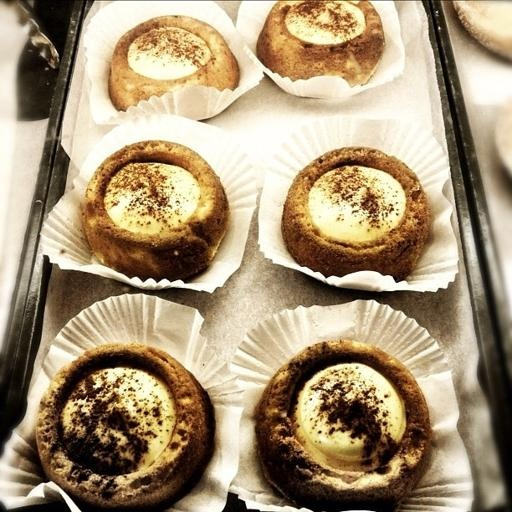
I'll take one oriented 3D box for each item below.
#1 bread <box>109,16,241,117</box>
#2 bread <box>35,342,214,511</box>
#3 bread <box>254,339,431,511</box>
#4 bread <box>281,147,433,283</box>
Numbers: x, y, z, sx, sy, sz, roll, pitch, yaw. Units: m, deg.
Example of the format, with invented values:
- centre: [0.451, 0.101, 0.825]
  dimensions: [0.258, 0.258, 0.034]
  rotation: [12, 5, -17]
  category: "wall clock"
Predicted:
- centre: [-0.416, -0.912, 2.565]
  dimensions: [0.609, 0.183, 0.491]
  rotation: [-16, 75, -2]
  category: "bread"
- centre: [-0.391, 0.506, 1.693]
  dimensions: [0.494, 0.234, 0.505]
  rotation: [-10, 75, -1]
  category: "bread"
- centre: [0.265, 0.500, 1.680]
  dimensions: [0.502, 0.170, 0.509]
  rotation: [11, 76, 5]
  category: "bread"
- centre: [0.379, -0.185, 2.092]
  dimensions: [0.503, 0.150, 0.539]
  rotation: [2, 75, 3]
  category: "bread"
